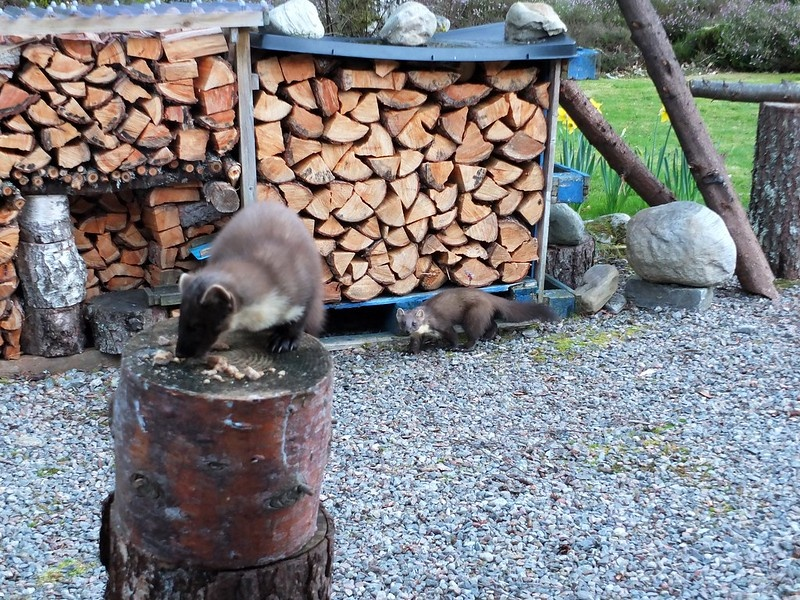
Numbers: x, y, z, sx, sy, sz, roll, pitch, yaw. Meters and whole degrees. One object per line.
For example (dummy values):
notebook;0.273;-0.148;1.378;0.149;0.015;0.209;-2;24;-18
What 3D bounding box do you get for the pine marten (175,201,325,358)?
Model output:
pine marten;-0.847;-0.097;4.516;0.729;0.784;1.076;3;15;-1
